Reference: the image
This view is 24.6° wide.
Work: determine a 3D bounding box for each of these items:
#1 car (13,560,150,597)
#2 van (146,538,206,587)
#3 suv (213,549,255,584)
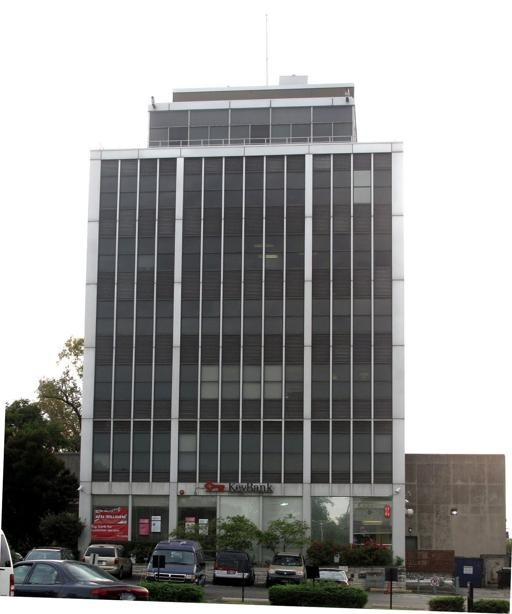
[{"bbox_3d":[-3.683,5.515,23.747,2.395,0.658,1.030,1,-8,22],"label":"car"},{"bbox_3d":[-2.233,7.184,33.817,1.683,1.259,2.814,3,1,3],"label":"van"},{"bbox_3d":[-0.800,9.500,42.948,1.119,0.802,1.960,1,2,4],"label":"suv"}]
